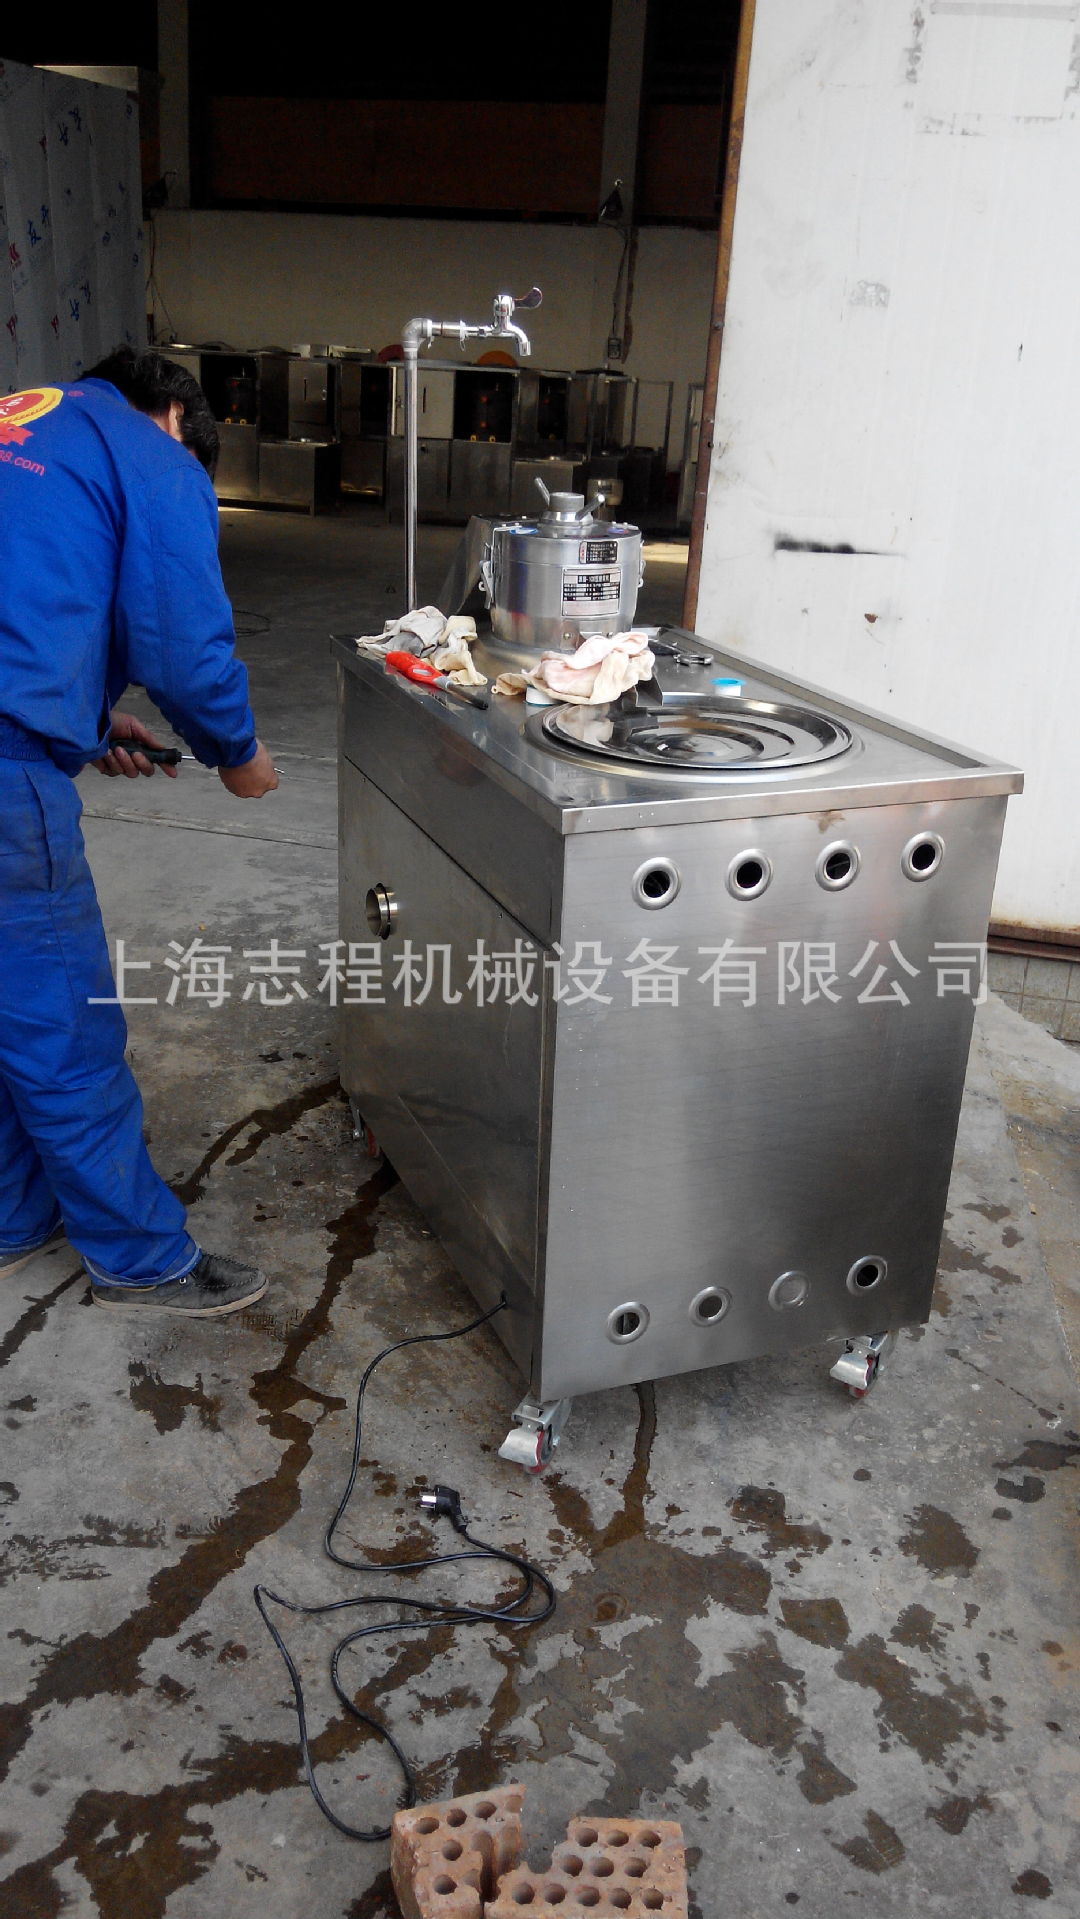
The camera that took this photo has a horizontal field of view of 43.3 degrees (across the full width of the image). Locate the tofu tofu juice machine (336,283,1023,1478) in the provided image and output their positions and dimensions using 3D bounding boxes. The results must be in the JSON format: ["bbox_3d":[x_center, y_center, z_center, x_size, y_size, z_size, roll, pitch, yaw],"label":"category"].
[{"bbox_3d":[0.110,-0.181,1.733,0.576,1.186,0.846,-7,21,-26],"label":"tofu tofu juice machine"}]

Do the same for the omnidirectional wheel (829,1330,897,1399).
[{"bbox_3d":[0.413,0.516,1.753,0.042,0.074,0.124,3,6,30],"label":"omnidirectional wheel"}]

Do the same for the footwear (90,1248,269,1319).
[{"bbox_3d":[-0.473,0.447,1.822,0.225,0.107,0.094,-2,17,-5],"label":"footwear"}]

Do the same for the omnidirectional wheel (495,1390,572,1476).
[{"bbox_3d":[-0.008,0.530,1.520,0.044,0.082,0.141,3,-2,19],"label":"omnidirectional wheel"}]

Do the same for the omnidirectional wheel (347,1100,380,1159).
[{"bbox_3d":[-0.291,0.283,2.268,0.023,0.084,0.078,-12,32,-34],"label":"omnidirectional wheel"}]

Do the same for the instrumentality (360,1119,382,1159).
[{"bbox_3d":[-0.287,0.294,2.256,0.019,0.050,0.117,-1,20,-19],"label":"instrumentality"}]
